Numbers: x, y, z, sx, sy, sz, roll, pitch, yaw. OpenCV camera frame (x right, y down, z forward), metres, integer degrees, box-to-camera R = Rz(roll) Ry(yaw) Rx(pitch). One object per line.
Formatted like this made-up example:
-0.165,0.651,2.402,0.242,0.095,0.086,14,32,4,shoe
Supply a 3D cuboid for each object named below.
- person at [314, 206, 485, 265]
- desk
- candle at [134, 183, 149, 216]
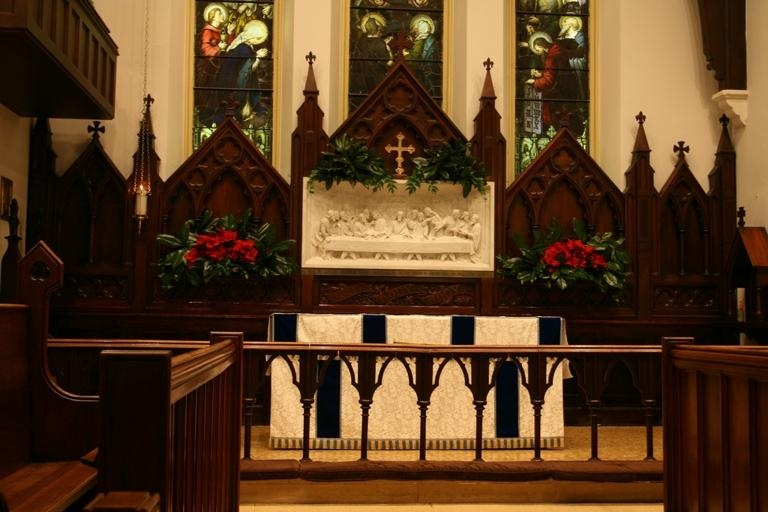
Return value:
0.205,-0.262,14.378,2.180,0.718,0.395,-1,2,-4,person
0.399,1.490,12.732,3.466,1.635,0.703,-1,2,-7,desk
-3.118,-0.696,13.954,0.175,0.430,0.360,-1,2,-13,candle
